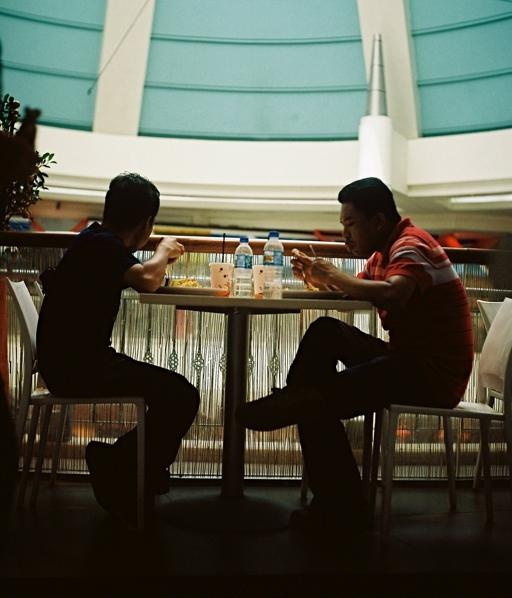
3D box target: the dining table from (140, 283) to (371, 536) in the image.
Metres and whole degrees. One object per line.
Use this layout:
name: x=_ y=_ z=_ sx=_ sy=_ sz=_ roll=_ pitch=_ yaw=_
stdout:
dining table: x=0.014 y=0.336 z=1.533 sx=0.546 sy=0.670 sz=0.619 roll=2 pitch=-14 yaw=-3

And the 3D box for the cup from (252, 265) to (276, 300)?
cup: x=0.019 y=-0.047 z=1.509 sx=0.065 sy=0.095 sz=0.074 roll=-2 pitch=-4 yaw=11

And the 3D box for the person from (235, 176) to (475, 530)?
person: x=0.284 y=0.143 z=1.527 sx=0.545 sy=0.972 sz=0.440 roll=7 pitch=-17 yaw=6

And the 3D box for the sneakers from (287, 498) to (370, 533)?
sneakers: x=0.187 y=0.520 z=1.363 sx=0.137 sy=0.040 sz=0.108 roll=6 pitch=-10 yaw=-25

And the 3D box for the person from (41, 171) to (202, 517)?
person: x=-0.362 y=0.078 z=1.437 sx=0.401 sy=0.833 sz=0.272 roll=3 pitch=-1 yaw=-27

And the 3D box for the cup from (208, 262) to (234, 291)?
cup: x=-0.095 y=-0.063 z=1.503 sx=0.061 sy=0.067 sz=0.068 roll=3 pitch=3 yaw=31
